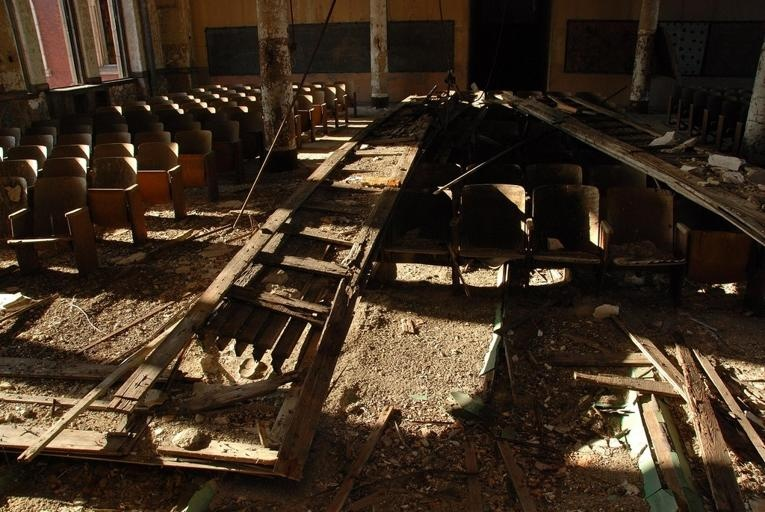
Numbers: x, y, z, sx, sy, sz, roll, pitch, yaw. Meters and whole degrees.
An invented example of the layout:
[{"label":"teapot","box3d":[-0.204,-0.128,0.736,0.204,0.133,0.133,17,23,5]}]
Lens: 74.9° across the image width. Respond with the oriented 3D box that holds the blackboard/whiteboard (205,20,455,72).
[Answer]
[{"label":"blackboard/whiteboard","box3d":[-1.804,-7.438,17.891,8.701,1.823,0.896,2,25,5]}]
